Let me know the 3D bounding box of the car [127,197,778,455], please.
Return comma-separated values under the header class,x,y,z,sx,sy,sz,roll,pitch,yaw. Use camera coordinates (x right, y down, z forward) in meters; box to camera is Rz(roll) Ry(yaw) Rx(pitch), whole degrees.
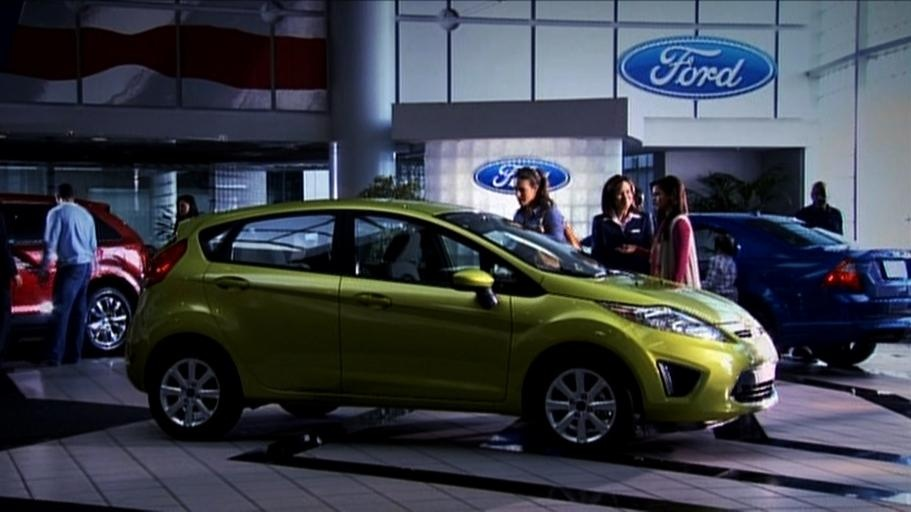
class,x,y,z,sx,sy,sz,roll,pitch,yaw
car,-0.352,0.743,9.951,6.328,2.201,3.348,-1,0,12
